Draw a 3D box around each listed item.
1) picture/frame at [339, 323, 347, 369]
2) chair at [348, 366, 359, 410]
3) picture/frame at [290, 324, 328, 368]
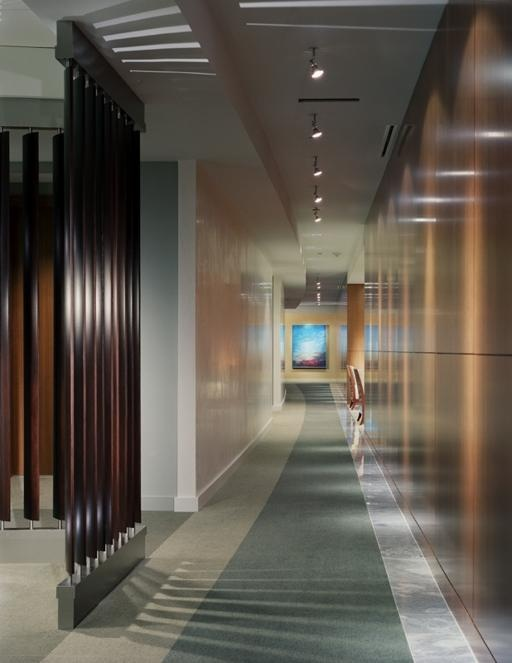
[{"bbox_3d":[4.850,0.851,30.660,0.290,2.417,0.458,-2,-4,21],"label":"picture/frame"},{"bbox_3d":[2.418,1.383,13.482,0.283,0.810,0.989,3,1,2],"label":"chair"},{"bbox_3d":[3.075,0.709,30.683,1.578,2.873,0.184,0,-1,1],"label":"picture/frame"}]
